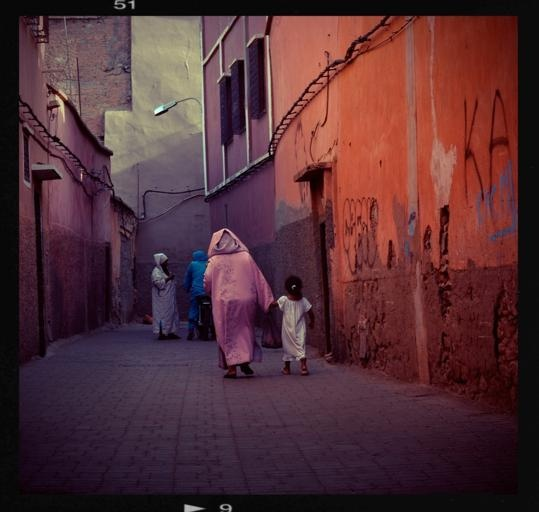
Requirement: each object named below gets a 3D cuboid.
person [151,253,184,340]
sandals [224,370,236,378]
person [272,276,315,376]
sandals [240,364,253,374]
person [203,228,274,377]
[{"bbox_3d":[-2.722,1.040,15.546,0.688,2.250,1.184,0,-3,-12],"label":"person"},{"bbox_3d":[-0.558,1.692,8.479,0.181,0.112,0.224,-1,-5,-4],"label":"sandals"},{"bbox_3d":[0.389,1.015,8.700,0.586,1.442,0.575,-1,-3,16],"label":"person"},{"bbox_3d":[-0.328,1.686,8.824,0.184,0.173,0.433,-1,-5,-2],"label":"sandals"},{"bbox_3d":[-0.458,0.720,8.977,0.890,2.606,0.681,-10,-34,4],"label":"person"}]
